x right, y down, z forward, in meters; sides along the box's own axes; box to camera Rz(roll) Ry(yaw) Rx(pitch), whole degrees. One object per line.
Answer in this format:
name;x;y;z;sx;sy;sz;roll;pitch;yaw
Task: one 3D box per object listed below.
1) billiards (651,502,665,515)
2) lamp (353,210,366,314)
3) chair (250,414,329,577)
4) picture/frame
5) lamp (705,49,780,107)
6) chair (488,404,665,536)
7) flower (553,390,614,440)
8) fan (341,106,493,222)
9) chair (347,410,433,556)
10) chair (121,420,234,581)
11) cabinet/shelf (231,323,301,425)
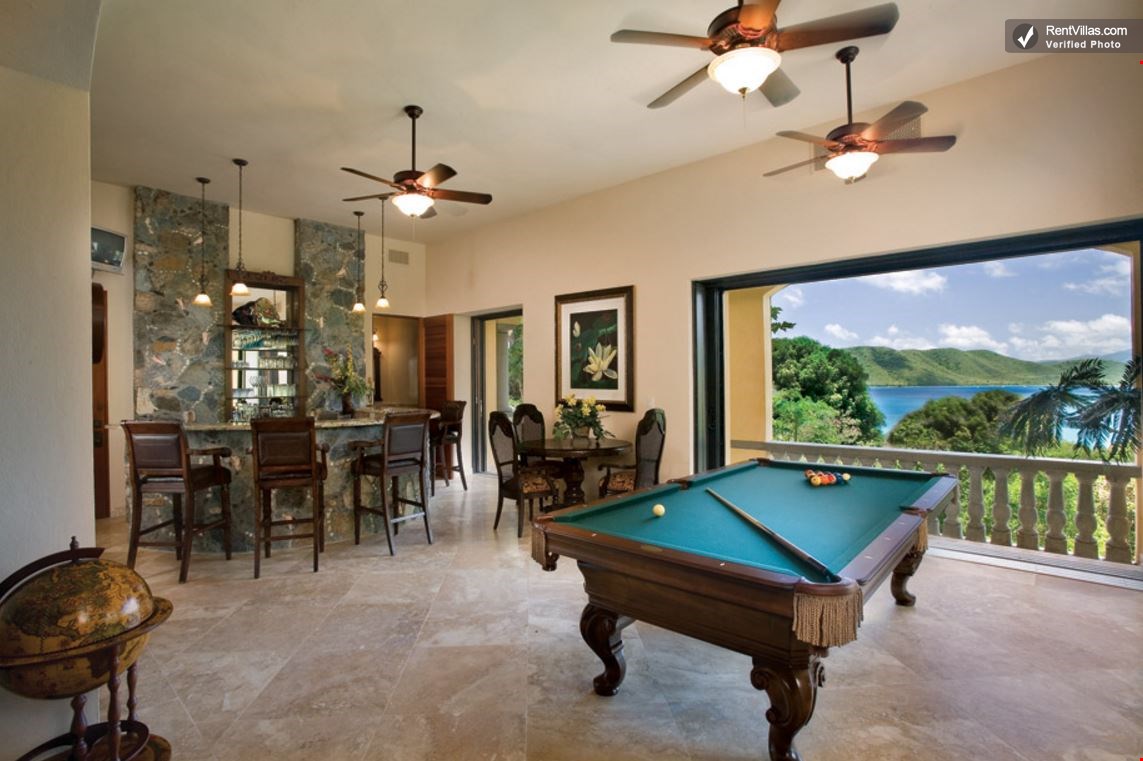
billiards;0.577;0.858;5.039;0.073;0.072;0.084;-36;-12;11
lamp;-2.697;-1.516;9.752;0.195;1.157;0.739;-5;13;-15
chair;-2.576;0.982;6.938;0.693;1.356;0.921;-5;13;-18
picture/frame;0.274;-0.379;8.633;1.188;1.368;0.311;10;17;44
lamp;1.152;-2.094;5.160;0.348;0.152;0.349;-12;-13;40
chair;-0.014;0.896;7.955;1.888;1.262;1.045;-1;1;24
flower;0.069;0.379;8.260;0.504;0.314;0.492;1;3;-22
fan;-1.340;-1.808;6.945;1.179;0.812;1.165;-2;0;-2
chair;-1.767;0.929;7.476;0.807;1.329;1.062;-5;13;-16
chair;-3.490;0.995;6.834;0.873;1.372;0.975;-1;12;2
cabinet/shelf;-3.543;-0.136;8.916;0.896;1.016;0.511;-10;15;-35
